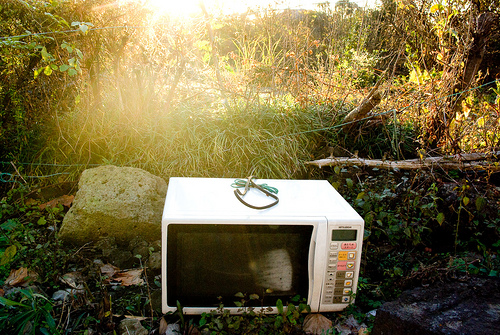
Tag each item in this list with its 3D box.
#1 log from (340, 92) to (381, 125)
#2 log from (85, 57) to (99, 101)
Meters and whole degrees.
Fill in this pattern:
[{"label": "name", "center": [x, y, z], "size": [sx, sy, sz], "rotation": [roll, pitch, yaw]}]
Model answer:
[{"label": "log", "center": [1.301, -0.668, 4.214], "size": [0.153, 0.630, 0.167], "rotation": [42, 49, 1]}, {"label": "log", "center": [-1.865, -1.038, 4.260], "size": [0.077, 0.489, 0.144], "rotation": [-12, 19, -40]}]
